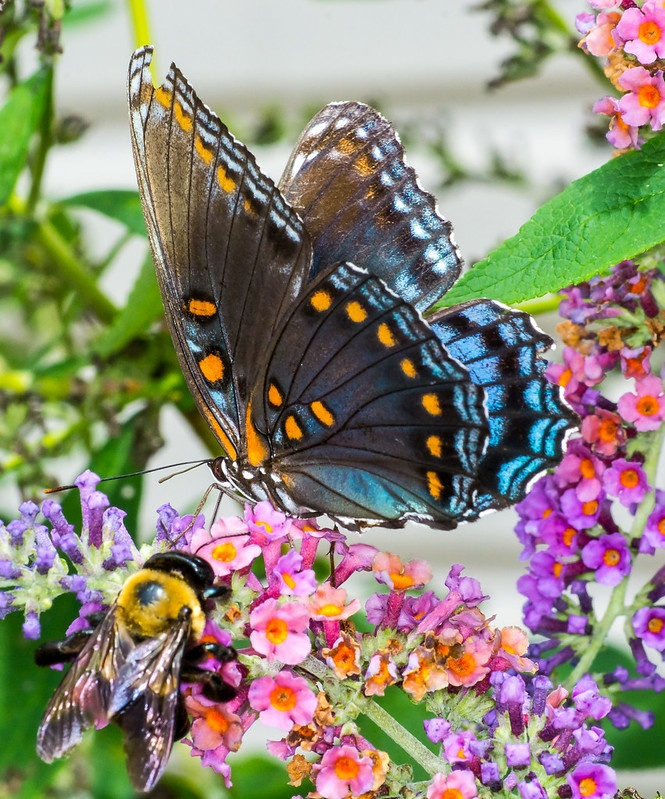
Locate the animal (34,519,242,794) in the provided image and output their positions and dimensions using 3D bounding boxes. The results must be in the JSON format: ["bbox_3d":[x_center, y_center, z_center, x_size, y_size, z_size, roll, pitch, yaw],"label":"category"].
[{"bbox_3d":[-0.264,0.351,1.272,0.214,0.201,0.272,2,25,24],"label":"animal"}]
